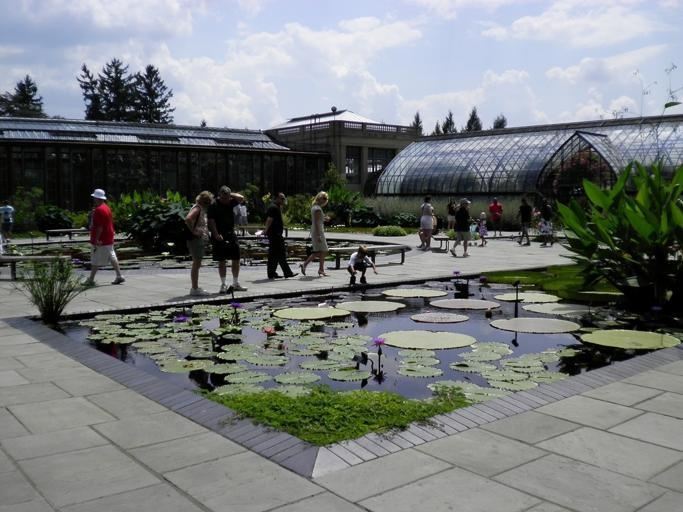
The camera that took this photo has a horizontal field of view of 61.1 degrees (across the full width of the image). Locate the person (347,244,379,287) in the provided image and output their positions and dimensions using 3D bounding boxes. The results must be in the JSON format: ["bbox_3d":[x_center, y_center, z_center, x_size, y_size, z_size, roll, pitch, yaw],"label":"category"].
[{"bbox_3d":[0.366,0.185,10.800,0.527,0.701,0.864,2,8,-7],"label":"person"}]

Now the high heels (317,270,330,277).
[{"bbox_3d":[-0.397,0.391,12.112,0.086,0.109,0.246,2,-10,-40],"label":"high heels"}]

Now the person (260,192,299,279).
[{"bbox_3d":[-1.313,-0.434,11.869,0.556,1.687,1.325,-3,7,-7],"label":"person"}]

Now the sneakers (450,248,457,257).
[{"bbox_3d":[3.263,-0.091,16.897,0.085,0.255,0.179,-13,5,24],"label":"sneakers"}]

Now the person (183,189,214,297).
[{"bbox_3d":[-2.401,-0.245,9.874,0.475,1.691,1.049,-3,7,-14],"label":"person"}]

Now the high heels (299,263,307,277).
[{"bbox_3d":[-0.812,0.330,12.056,0.138,0.314,0.101,-3,14,18],"label":"high heels"}]

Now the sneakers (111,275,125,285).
[{"bbox_3d":[-4.172,0.468,10.794,0.099,0.120,0.270,-22,6,-29],"label":"sneakers"}]
